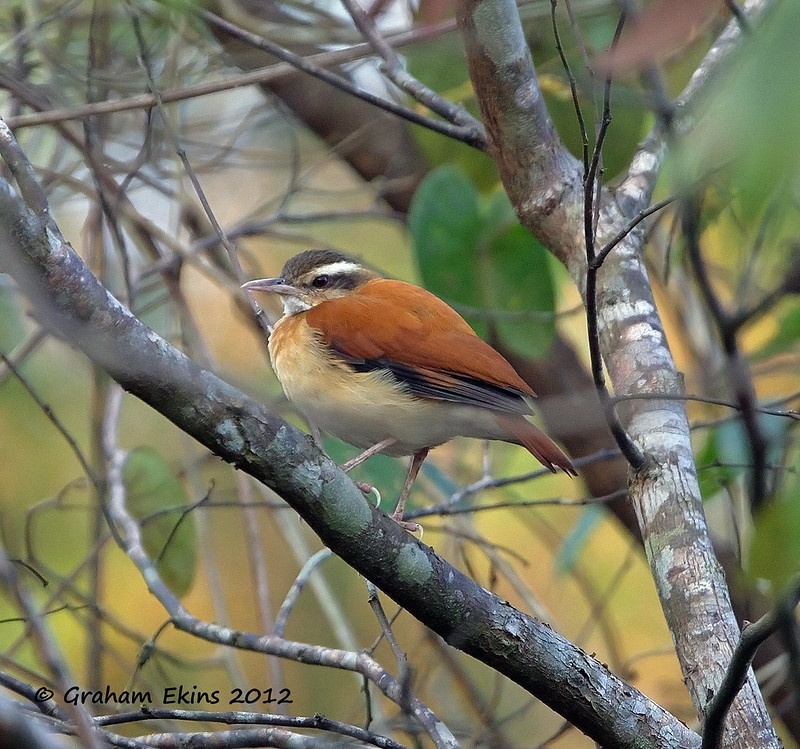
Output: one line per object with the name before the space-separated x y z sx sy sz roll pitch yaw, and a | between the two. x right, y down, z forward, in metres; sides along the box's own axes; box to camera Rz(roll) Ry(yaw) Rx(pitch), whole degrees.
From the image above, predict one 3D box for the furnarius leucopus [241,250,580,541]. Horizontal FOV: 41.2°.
furnarius leucopus | 0.032 0.055 5.077 1.402 1.216 0.688 0 -12 2
